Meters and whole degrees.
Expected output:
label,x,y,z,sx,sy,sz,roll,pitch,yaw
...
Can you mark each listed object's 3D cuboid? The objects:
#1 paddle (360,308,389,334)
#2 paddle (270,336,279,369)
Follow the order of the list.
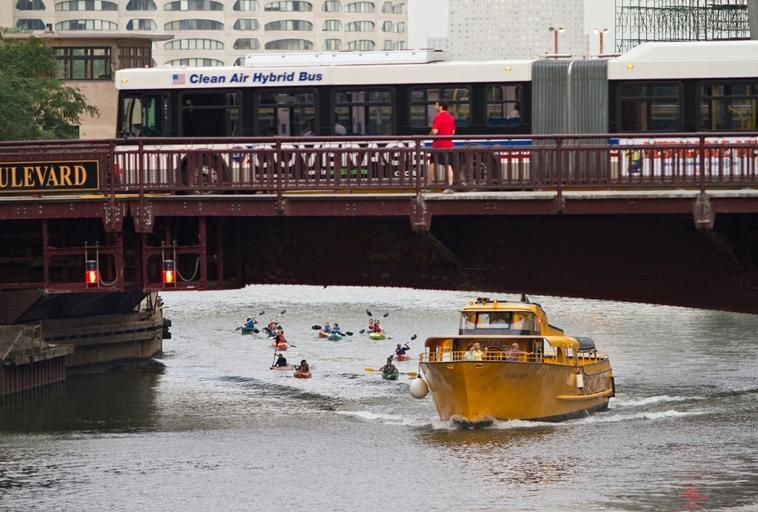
label,x,y,z,sx,sy,sz,roll,pitch,yaw
paddle,-0.131,4.192,131.041,1.126,0.891,1.490,-2,-12,-9
paddle,-5.774,5.659,122.747,0.598,0.395,1.711,16,-35,7
